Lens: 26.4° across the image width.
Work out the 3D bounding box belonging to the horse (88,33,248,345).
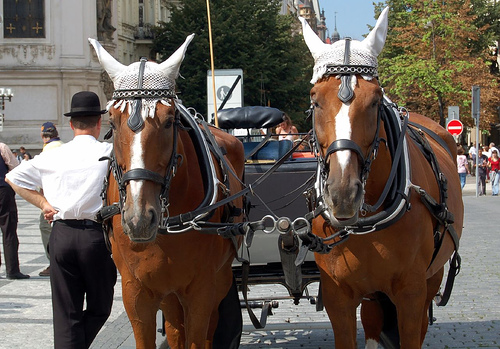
[{"bbox_3d":[-1.234,0.364,17.937,2.437,5.417,1.340,-5,7,-35],"label":"horse"}]

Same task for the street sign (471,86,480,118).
[{"bbox_3d":[7.666,-2.453,36.173,0.223,1.073,0.496,1,6,13],"label":"street sign"}]

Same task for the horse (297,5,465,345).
[{"bbox_3d":[2.256,0.126,17.880,2.852,5.879,1.560,-7,8,-44],"label":"horse"}]
